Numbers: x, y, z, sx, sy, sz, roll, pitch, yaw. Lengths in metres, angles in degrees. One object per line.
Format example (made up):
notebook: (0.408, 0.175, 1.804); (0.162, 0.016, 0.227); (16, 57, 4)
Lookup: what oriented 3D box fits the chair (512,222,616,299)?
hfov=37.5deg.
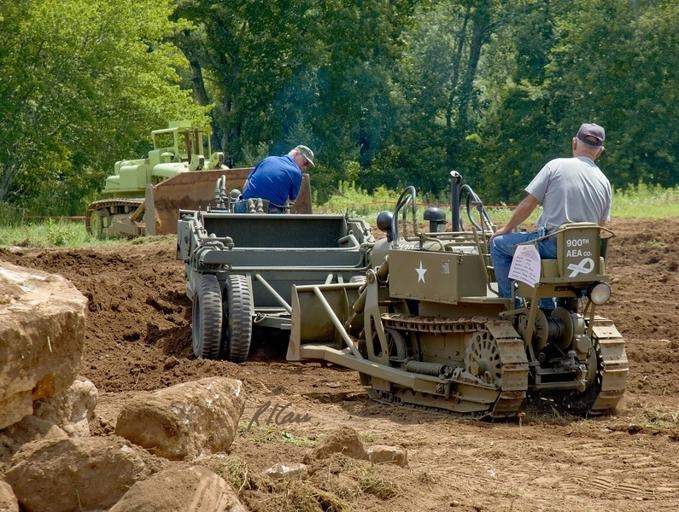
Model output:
chair: (3.011, 0.027, 13.311); (0.910, 1.056, 1.440); (-2, 7, -2)

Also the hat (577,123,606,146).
hat: (3.295, -1.597, 13.248); (0.229, 0.269, 0.424); (6, 18, 1)

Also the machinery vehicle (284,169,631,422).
machinery vehicle: (1.668, 0.505, 14.257); (2.645, 3.551, 4.558); (1, 3, -40)

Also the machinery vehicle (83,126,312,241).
machinery vehicle: (-4.439, -1.744, 25.705); (3.867, 2.740, 4.267); (0, -1, -39)
